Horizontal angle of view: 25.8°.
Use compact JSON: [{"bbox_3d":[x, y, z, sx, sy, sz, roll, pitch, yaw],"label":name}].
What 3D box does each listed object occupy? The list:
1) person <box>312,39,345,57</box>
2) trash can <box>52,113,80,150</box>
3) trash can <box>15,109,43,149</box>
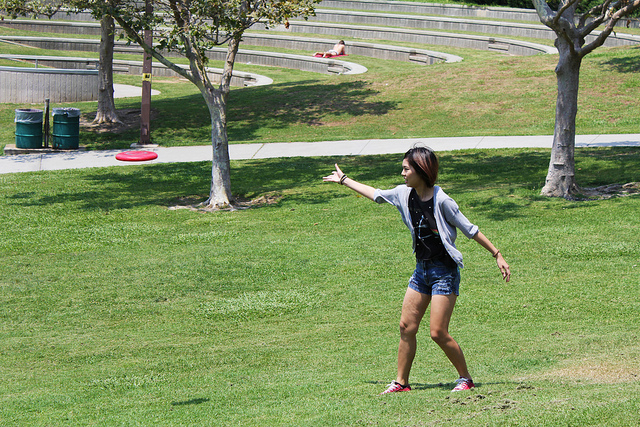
[{"bbox_3d":[0.487,-8.890,75.351,2.178,1.073,0.750,-1,9,-5],"label":"person"},{"bbox_3d":[-9.316,-2.971,51.277,1.277,1.219,1.242,0,1,-6],"label":"trash can"},{"bbox_3d":[-10.803,-3.059,51.293,1.742,1.197,1.638,2,7,-14],"label":"trash can"}]
